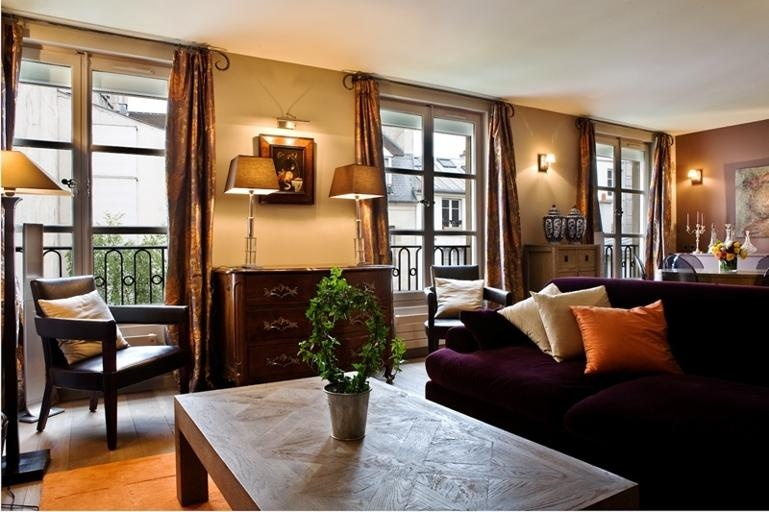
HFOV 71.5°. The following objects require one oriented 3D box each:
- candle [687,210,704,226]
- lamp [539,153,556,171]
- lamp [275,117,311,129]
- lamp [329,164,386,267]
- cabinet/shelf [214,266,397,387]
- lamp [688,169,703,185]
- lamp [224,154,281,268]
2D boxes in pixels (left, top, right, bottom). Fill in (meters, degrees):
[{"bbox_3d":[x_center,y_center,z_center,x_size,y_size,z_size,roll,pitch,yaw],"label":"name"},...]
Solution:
[{"bbox_3d":[4.799,-0.582,8.289,0.039,0.191,0.252,-4,2,-42],"label":"candle"},{"bbox_3d":[2.172,-1.219,7.043,0.340,0.242,0.136,-3,1,-38],"label":"lamp"},{"bbox_3d":[-0.959,-1.344,5.451,0.185,0.069,0.176,0,4,4],"label":"lamp"},{"bbox_3d":[-0.275,-0.418,5.452,0.528,0.757,0.570,-3,1,-6],"label":"lamp"},{"bbox_3d":[-0.676,0.551,4.148,1.192,0.797,0.477,0,-3,-22],"label":"cabinet/shelf"},{"bbox_3d":[4.799,-1.227,8.270,0.143,0.246,0.254,3,-4,-23],"label":"lamp"},{"bbox_3d":[-1.221,-0.406,4.967,0.457,0.872,0.660,-3,1,-17],"label":"lamp"}]
